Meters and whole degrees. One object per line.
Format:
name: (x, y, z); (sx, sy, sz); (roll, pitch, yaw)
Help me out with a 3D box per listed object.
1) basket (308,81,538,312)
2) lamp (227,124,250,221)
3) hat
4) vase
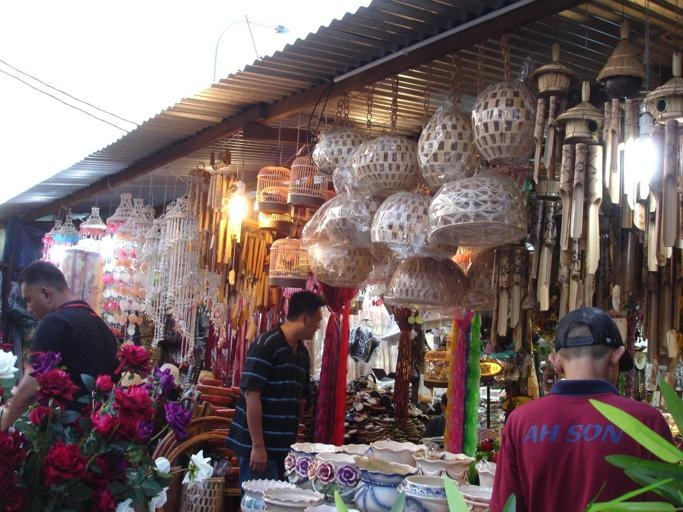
basket: (0.394, -0.286, 2.841); (0.492, 1.054, 1.093); (11, -14, -40)
lamp: (-0.815, -0.571, 4.773); (0.173, 0.680, 1.294); (4, -8, -11)
hat: (0.805, 0.250, 1.915); (0.207, 0.166, 0.295); (-14, -27, 39)
vase: (0.065, 0.790, 2.117); (0.770, 0.206, 0.527); (1, -8, 17)
